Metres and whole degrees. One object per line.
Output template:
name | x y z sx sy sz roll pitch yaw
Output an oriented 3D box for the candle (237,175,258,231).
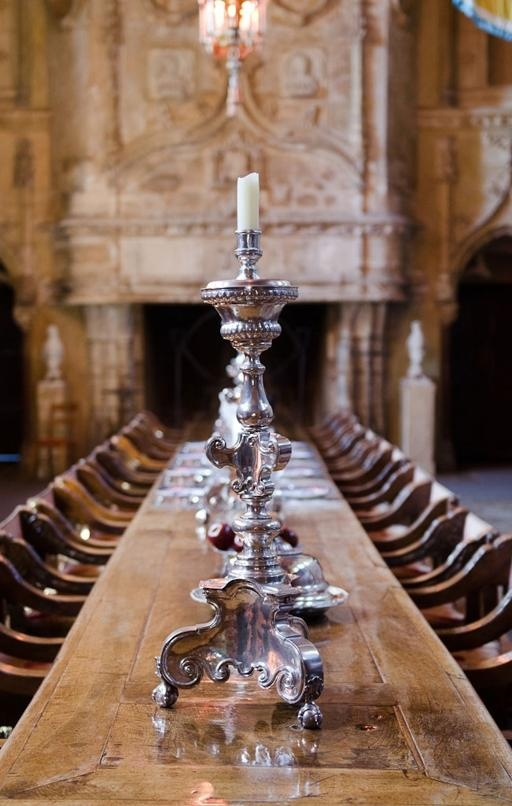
candle | -0.014 -0.330 1.607 0.036 0.089 0.093 -2 -7 -2
